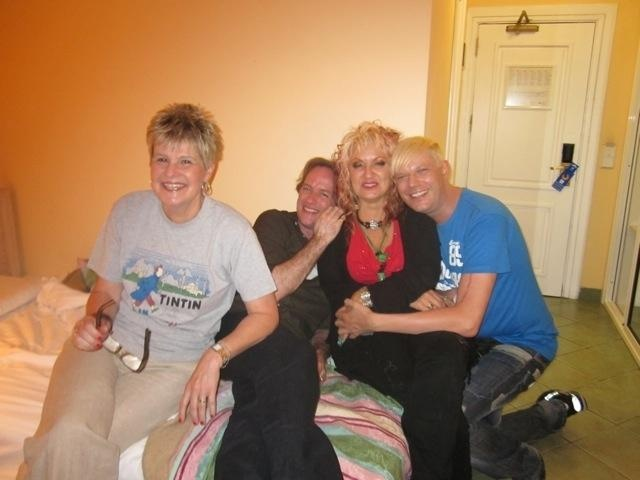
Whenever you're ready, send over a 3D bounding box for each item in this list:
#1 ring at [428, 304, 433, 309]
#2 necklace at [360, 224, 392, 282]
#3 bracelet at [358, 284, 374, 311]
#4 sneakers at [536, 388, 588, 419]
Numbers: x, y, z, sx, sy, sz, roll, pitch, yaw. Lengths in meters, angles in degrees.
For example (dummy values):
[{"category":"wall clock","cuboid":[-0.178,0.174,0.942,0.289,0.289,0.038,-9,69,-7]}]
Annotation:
[{"category":"ring","cuboid":[0.487,0.297,2.182,0.022,0.021,0.005,16,8,16]},{"category":"necklace","cuboid":[0.286,0.051,2.395,0.110,0.308,0.075,0,-14,6]},{"category":"bracelet","cuboid":[0.205,0.260,2.221,0.059,0.083,0.025,-10,-4,18]},{"category":"sneakers","cuboid":[1.269,0.878,2.627,0.292,0.133,0.125,-8,-13,28]}]
